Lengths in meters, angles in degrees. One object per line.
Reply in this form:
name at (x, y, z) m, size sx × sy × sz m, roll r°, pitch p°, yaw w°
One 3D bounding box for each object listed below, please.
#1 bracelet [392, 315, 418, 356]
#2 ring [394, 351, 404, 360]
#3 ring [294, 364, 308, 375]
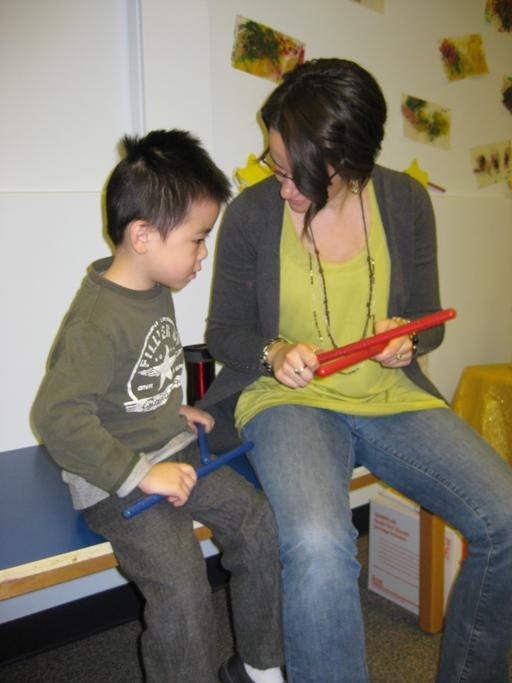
bracelet at (0.273, -0.011, 1.078) m, size 0.053 × 0.063 × 0.024 m, roll 3°, pitch -10°, yaw -40°
ring at (0.249, 0.022, 1.041) m, size 0.010 × 0.013 × 0.005 m, roll -1°, pitch -1°, yaw -28°
ring at (0.073, 0.043, 0.956) m, size 0.012 × 0.013 × 0.014 m, roll -11°, pitch -4°, yaw -45°
